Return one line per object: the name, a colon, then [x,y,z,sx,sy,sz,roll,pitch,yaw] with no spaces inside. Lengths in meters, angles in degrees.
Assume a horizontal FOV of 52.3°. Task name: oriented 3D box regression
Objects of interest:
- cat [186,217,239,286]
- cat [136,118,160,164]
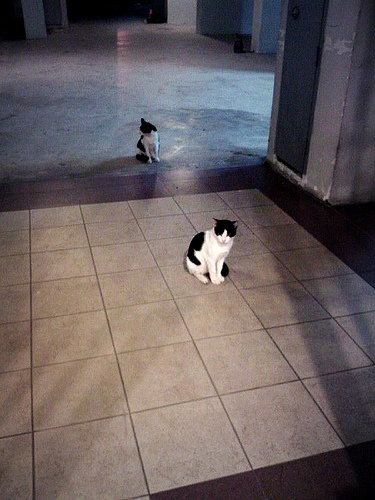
cat: [0.159,-0.047,2.759,0.204,0.608,0.370,-26,48,-36]
cat: [-0.557,-1.522,5.292,0.295,0.576,0.650,-5,19,-10]
